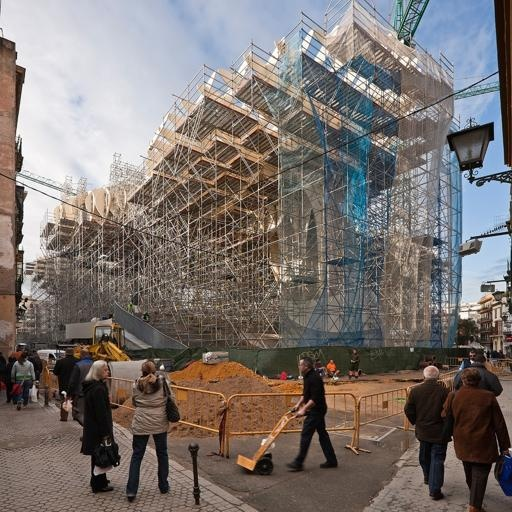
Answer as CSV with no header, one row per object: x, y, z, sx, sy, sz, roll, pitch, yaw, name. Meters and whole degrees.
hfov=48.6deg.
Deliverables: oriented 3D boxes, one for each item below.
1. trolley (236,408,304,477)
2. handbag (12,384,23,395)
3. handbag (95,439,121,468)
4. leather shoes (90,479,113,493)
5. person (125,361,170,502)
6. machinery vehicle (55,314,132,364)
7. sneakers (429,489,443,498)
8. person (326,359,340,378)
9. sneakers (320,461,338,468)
0.225,3.057,9.510,0.910,0.994,0.760,3,-9,-3,trolley
-6.508,3.647,15.509,0.188,0.372,0.264,6,-7,36,handbag
-2.117,2.803,8.045,0.361,0.360,0.234,2,-2,-13,handbag
-2.254,3.333,8.297,0.284,0.200,0.156,0,-1,-28,leather shoes
-1.588,2.524,8.397,0.656,1.892,0.633,2,-1,-20,person
-5.726,3.339,20.280,3.210,1.875,1.015,-1,-20,26,machinery vehicle
2.596,3.413,8.136,0.071,0.107,0.217,-7,-9,38,sneakers
3.512,5.030,25.318,0.614,0.870,0.577,3,-17,-31,person
1.225,3.493,9.568,0.298,0.147,0.110,0,-8,17,sneakers
